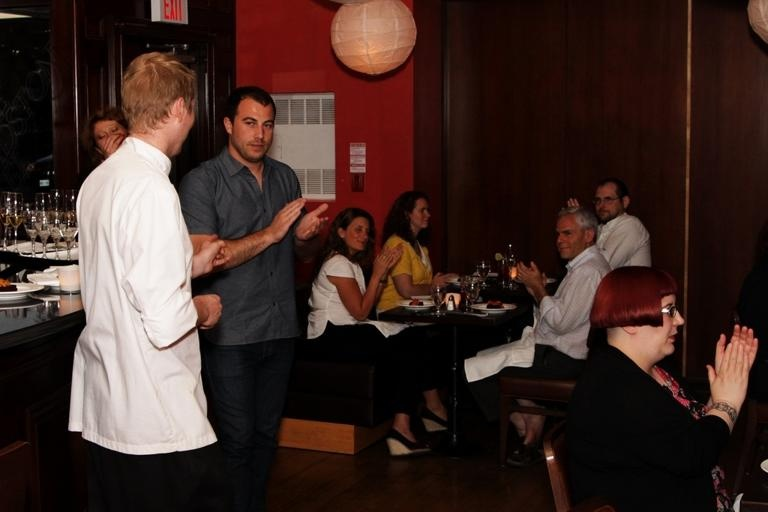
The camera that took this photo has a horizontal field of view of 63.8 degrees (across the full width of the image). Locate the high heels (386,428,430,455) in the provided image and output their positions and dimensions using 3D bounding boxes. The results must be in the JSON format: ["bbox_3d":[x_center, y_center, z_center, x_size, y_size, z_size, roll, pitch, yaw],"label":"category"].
[{"bbox_3d":[0.217,1.367,4.532,0.382,0.173,0.131,3,-7,-19],"label":"high heels"}]

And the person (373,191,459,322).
[{"bbox_3d":[0.278,0.053,5.137,0.624,1.135,0.654,-1,-5,30],"label":"person"}]

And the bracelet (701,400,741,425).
[{"bbox_3d":[1.230,0.584,2.270,0.121,0.055,0.112,23,-14,10],"label":"bracelet"}]

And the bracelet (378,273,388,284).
[{"bbox_3d":[0.005,0.167,4.537,0.019,0.071,0.070,26,5,1],"label":"bracelet"}]

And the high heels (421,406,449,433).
[{"bbox_3d":[0.432,1.323,4.866,0.261,0.112,0.097,6,-11,13],"label":"high heels"}]

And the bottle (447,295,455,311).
[{"bbox_3d":[0.475,0.330,4.406,0.078,0.093,0.084,1,-8,1],"label":"bottle"}]
